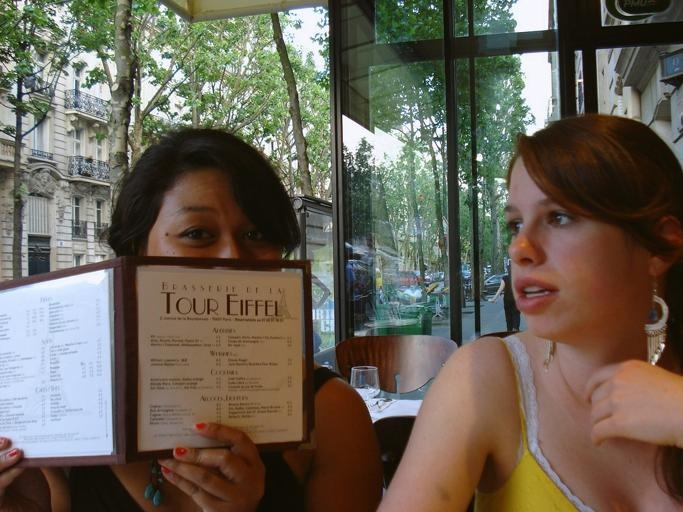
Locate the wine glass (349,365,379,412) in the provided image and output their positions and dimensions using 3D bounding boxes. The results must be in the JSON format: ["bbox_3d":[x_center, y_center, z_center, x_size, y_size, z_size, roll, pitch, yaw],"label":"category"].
[{"bbox_3d":[0.123,0.628,2.915,0.123,0.227,0.135,-1,-14,0],"label":"wine glass"}]
